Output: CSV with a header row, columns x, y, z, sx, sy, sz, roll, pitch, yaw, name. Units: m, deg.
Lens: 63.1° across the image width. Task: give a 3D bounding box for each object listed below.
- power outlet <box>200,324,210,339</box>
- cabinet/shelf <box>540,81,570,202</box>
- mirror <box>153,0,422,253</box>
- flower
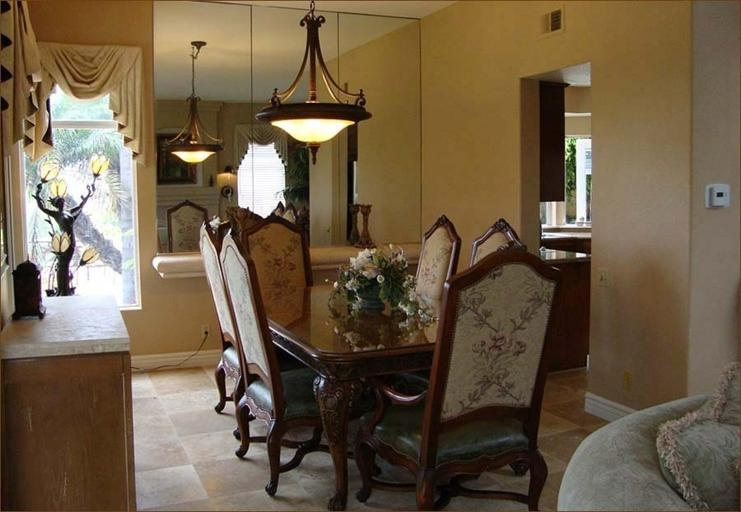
x,y,z,sx,sy,sz,roll,pitch,yaw,name
-1.547,0.731,5.727,0.094,0.093,0.022,-1,3,-35,power outlet
1.630,-1.001,5.335,0.165,1.031,0.454,9,14,41,cabinet/shelf
-0.871,-1.251,5.599,2.336,2.466,0.044,0,8,-8,mirror
-2.366,-0.223,4.914,0.609,1.150,1.447,-6,12,-29,flower
